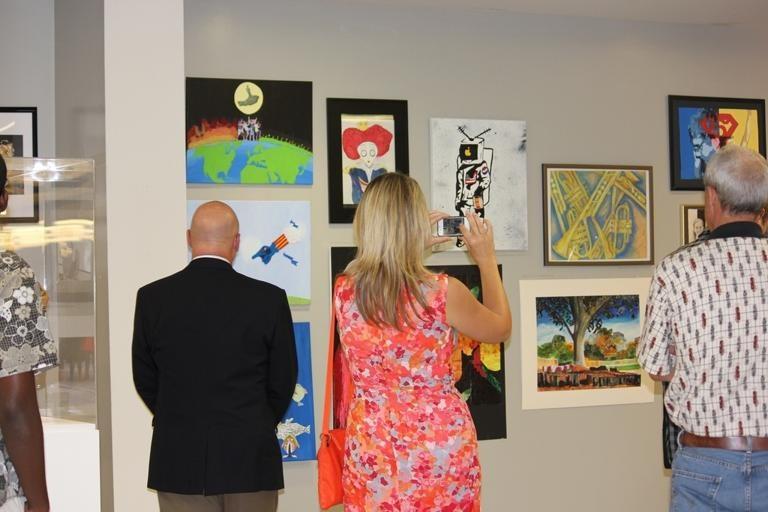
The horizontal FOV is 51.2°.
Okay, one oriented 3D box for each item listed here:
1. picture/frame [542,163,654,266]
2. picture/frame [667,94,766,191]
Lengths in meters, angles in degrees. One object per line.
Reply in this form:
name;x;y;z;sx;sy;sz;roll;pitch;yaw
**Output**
picture/frame;1.496;-0.289;5.794;0.686;0.628;0.048;0;-3;-15
picture/frame;2.245;-0.772;5.542;0.761;0.688;0.035;0;-6;-9
